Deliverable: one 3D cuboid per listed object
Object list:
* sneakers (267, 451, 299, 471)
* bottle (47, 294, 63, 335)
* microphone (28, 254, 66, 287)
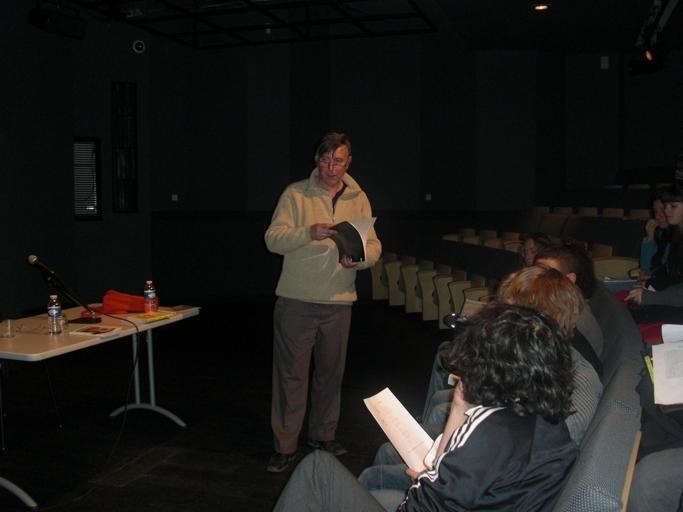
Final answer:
[{"bbox_3d":[-0.342,1.160,3.055,0.068,0.074,0.168,-2,-9,22],"label":"sneakers"},{"bbox_3d":[-1.640,0.317,3.072,0.069,0.201,0.272,-6,11,-29],"label":"bottle"},{"bbox_3d":[-3.253,0.152,5.904,0.162,0.121,0.515,16,-30,31],"label":"microphone"}]
